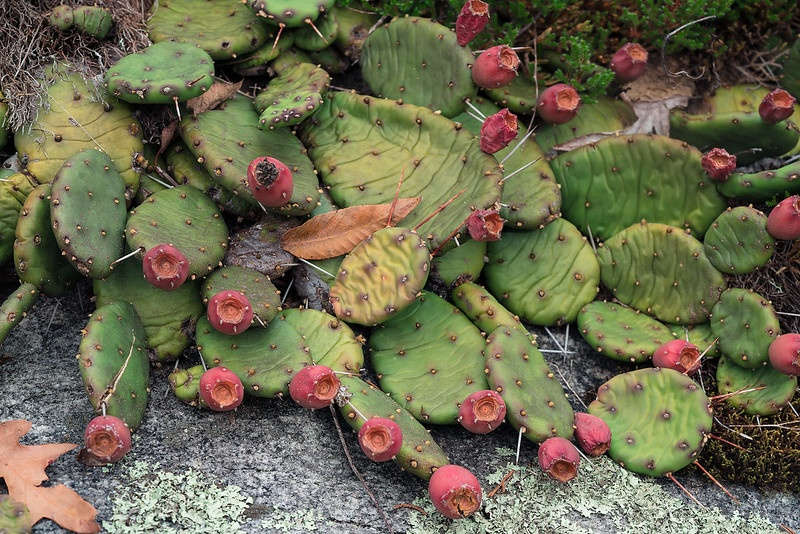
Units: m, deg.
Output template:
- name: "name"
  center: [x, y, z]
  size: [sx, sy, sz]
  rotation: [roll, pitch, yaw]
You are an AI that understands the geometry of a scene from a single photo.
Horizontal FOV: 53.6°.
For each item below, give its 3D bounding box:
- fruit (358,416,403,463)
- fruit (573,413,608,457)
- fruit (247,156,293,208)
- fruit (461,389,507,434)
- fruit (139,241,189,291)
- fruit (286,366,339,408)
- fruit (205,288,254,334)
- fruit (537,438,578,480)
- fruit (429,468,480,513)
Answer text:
- name: "fruit"
  center: [-0.103, 0.898, 4.175]
  size: [0.237, 0.164, 0.191]
  rotation: [12, 58, 0]
- name: "fruit"
  center: [1.082, 0.935, 4.441]
  size: [0.219, 0.218, 0.226]
  rotation: [0, 58, -6]
- name: "fruit"
  center: [-0.702, -0.465, 4.430]
  size: [0.269, 0.213, 0.163]
  rotation: [56, 9, -16]
- name: "fruit"
  center: [0.457, 0.774, 4.323]
  size: [0.249, 0.206, 0.211]
  rotation: [23, 58, 8]
- name: "fruit"
  center: [-1.261, -0.022, 4.292]
  size: [0.247, 0.249, 0.107]
  rotation: [3, 23, 1]
- name: "fruit"
  center: [-0.460, 0.632, 4.269]
  size: [0.198, 0.252, 0.249]
  rotation: [5, 71, -39]
- name: "fruit"
  center: [-0.926, 0.240, 4.313]
  size: [0.212, 0.135, 0.241]
  rotation: [2, 89, -11]
- name: "fruit"
  center: [0.857, 1.019, 4.328]
  size: [0.174, 0.186, 0.228]
  rotation: [-3, 19, -15]
- name: "fruit"
  center: [0.289, 1.168, 4.088]
  size: [0.195, 0.256, 0.210]
  rotation: [1, 93, -6]
